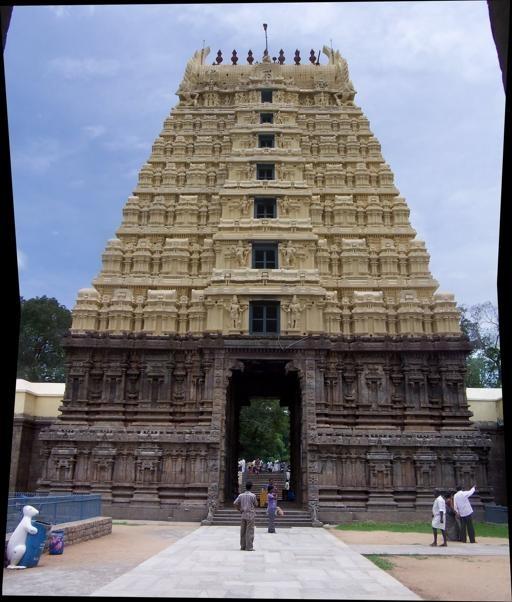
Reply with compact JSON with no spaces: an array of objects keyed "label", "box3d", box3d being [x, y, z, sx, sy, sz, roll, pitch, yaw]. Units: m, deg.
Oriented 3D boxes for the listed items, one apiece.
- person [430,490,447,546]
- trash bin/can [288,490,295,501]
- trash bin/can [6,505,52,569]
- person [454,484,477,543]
[{"label":"person","box3d":[4.828,5.708,14.661,0.452,1.221,3.280,-5,-16,16]},{"label":"trash bin/can","box3d":[1.547,8.585,24.282,0.288,0.372,0.666,-1,-15,3]},{"label":"trash bin/can","box3d":[-4.165,4.303,10.092,0.661,1.030,0.510,11,-20,-35]},{"label":"person","box3d":[5.471,5.603,14.472,0.559,1.313,0.992,-5,-17,18]}]
